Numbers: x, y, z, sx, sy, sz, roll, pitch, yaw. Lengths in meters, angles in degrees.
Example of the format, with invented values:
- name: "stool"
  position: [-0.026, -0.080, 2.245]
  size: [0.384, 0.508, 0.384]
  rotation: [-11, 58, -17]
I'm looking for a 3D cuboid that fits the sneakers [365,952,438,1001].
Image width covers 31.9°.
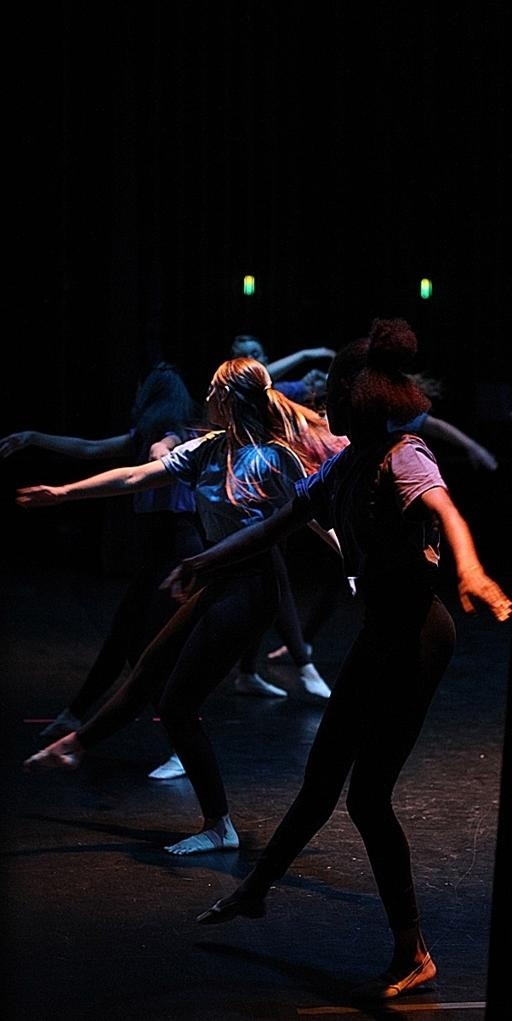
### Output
- name: "sneakers"
  position: [0.321, 0.996, 1.966]
  size: [0.148, 0.061, 0.077]
  rotation: [-12, -3, -22]

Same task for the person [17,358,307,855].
- name: "person"
  position: [-0.272, 0.278, 2.229]
  size: [0.725, 1.289, 0.581]
  rotation: [1, 6, 2]

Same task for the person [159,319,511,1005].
- name: "person"
  position: [0.166, 0.177, 3.111]
  size: [1.078, 2.717, 1.393]
  rotation: [2, 8, 9]
